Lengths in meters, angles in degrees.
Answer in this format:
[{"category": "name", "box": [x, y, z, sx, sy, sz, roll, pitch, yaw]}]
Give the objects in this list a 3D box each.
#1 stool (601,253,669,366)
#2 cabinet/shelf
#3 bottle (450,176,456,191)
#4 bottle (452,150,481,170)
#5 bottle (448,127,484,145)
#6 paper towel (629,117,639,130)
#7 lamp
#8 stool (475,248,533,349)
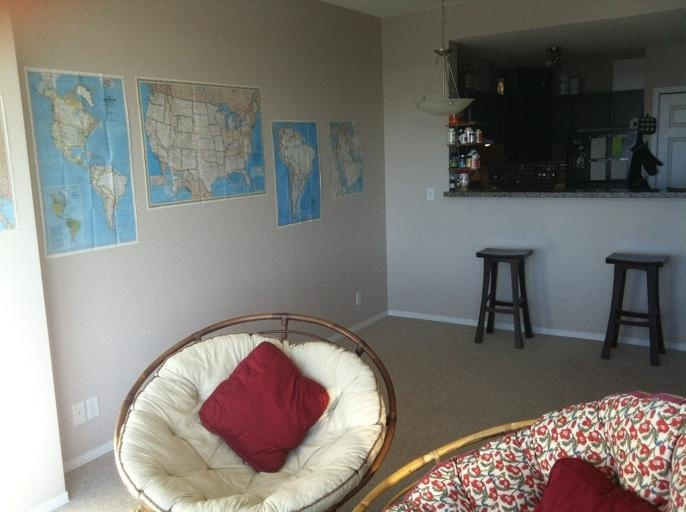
[{"category": "stool", "box": [2.592, 0.434, 4.530, 0.502, 0.893, 0.570, 4, 13, 34]}, {"category": "cabinet/shelf", "box": [2.440, -1.405, 6.070, 1.360, 0.981, 0.725, 2, 6, 14]}, {"category": "bottle", "box": [1.137, -0.761, 5.283, 0.107, 0.144, 0.056, -13, 15, -42]}, {"category": "bottle", "box": [1.265, -0.976, 5.280, 0.324, 0.197, 0.227, -4, -2, 25]}, {"category": "bottle", "box": [1.237, -1.232, 5.192, 0.336, 0.181, 0.162, -1, 11, 16]}, {"category": "paper towel", "box": [3.121, -1.429, 5.490, 0.069, 0.108, 0.526, 3, 13, 32]}, {"category": "lamp", "box": [0.902, -1.828, 4.673, 0.486, 1.131, 1.798, -1, 11, 12]}, {"category": "stool", "box": [1.583, 0.369, 5.032, 0.540, 0.896, 0.581, 1, 12, 21]}]
